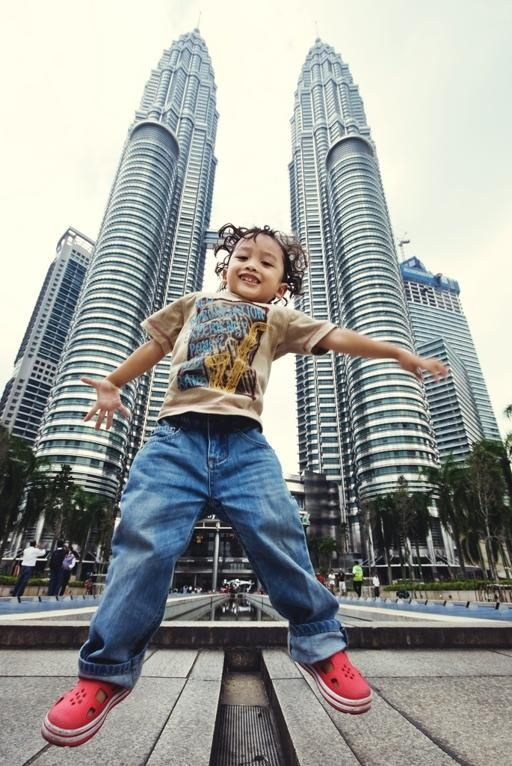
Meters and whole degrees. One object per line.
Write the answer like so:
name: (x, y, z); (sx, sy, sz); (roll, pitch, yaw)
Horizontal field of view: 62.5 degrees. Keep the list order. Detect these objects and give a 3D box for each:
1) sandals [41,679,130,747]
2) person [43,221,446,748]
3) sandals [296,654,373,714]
sandals: (-0.492, 0.967, 1.275); (0.123, 0.125, 0.301); (17, -21, 21)
person: (-0.149, 0.028, 1.829); (1.111, 2.296, 0.485); (8, -27, -16)
sandals: (0.239, 0.954, 1.347); (0.119, 0.110, 0.290); (13, -24, -17)
